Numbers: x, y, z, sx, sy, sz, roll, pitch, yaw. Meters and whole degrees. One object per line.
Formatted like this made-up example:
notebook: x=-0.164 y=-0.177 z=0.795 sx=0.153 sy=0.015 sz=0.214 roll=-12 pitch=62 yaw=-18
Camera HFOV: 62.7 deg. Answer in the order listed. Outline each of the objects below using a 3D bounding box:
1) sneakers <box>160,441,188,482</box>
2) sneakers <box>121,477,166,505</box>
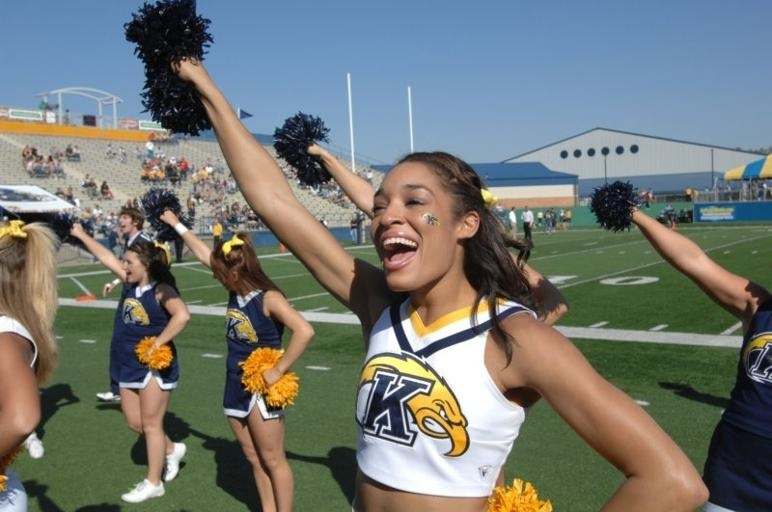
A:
sneakers: x=-1.926 y=1.868 z=5.780 sx=0.134 sy=0.381 sz=0.163 roll=3 pitch=-9 yaw=40
sneakers: x=-2.014 y=1.979 z=5.401 sx=0.399 sy=0.180 sz=0.149 roll=2 pitch=10 yaw=-34
